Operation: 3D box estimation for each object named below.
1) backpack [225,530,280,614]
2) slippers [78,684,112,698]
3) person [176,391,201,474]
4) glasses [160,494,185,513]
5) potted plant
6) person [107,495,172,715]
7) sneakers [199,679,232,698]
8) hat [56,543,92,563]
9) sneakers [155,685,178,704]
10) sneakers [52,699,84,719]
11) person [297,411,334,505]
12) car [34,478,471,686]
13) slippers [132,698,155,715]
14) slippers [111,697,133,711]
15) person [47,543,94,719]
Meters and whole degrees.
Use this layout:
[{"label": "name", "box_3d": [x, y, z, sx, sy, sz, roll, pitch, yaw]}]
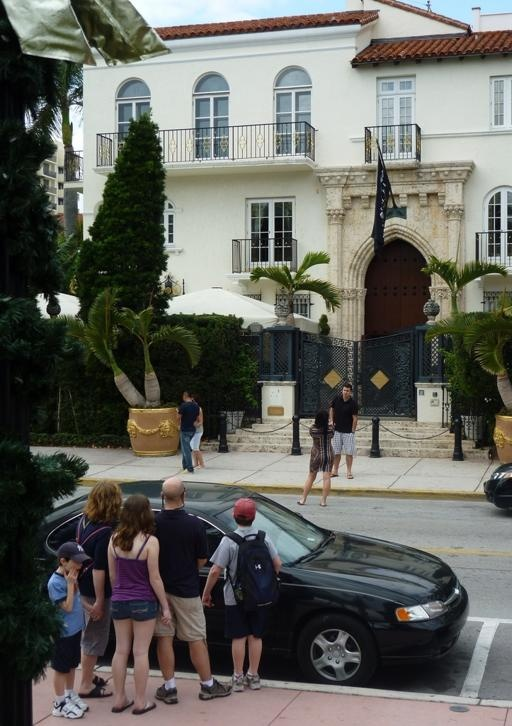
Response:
[{"label": "backpack", "box_3d": [0.007, 1.291, 7.738, 0.308, 0.505, 0.276, -11, 14, -13]}, {"label": "slippers", "box_3d": [-1.002, 2.052, 7.722, 0.150, 0.061, 0.083, 1, 3, -7]}, {"label": "person", "box_3d": [-1.000, 1.042, 19.006, 0.317, 1.237, 0.628, -1, 1, -3]}, {"label": "glasses", "box_3d": [-0.509, 0.848, 7.760, 0.123, 0.132, 0.190, 1, -31, -2]}, {"label": "potted plant", "box_3d": [-2.196, 0.195, 21.281, 1.711, 2.874, 2.310, -1, 1, -4]}, {"label": "person", "box_3d": [-0.708, 1.442, 7.492, 0.383, 1.275, 0.375, -1, 1, -3]}, {"label": "sneakers", "box_3d": [-0.244, 2.021, 7.616, 0.219, 0.109, 0.083, -5, 8, -36]}, {"label": "hat", "box_3d": [-1.086, 1.122, 7.282, 0.152, 0.092, 0.112, 3, -1, 11]}, {"label": "sneakers", "box_3d": [-0.538, 2.025, 7.566, 0.066, 0.077, 0.156, 1, 4, -27]}, {"label": "sneakers", "box_3d": [-1.112, 2.053, 7.308, 0.206, 0.113, 0.084, 1, 7, 17]}, {"label": "person", "box_3d": [0.782, 1.122, 15.415, 0.404, 1.249, 0.401, 2, 15, 3]}, {"label": "car", "box_3d": [-0.007, 1.725, 8.766, 3.010, 1.124, 1.493, 0, 6, 12]}, {"label": "slippers", "box_3d": [-0.662, 2.056, 7.393, 0.090, 0.036, 0.193, 0, 2, 32]}, {"label": "slippers", "box_3d": [-0.795, 2.054, 7.420, 0.152, 0.038, 0.101, -2, 1, -23]}, {"label": "person", "box_3d": [-1.106, 1.581, 7.306, 0.230, 1.028, 0.448, -1, 1, -9]}]
